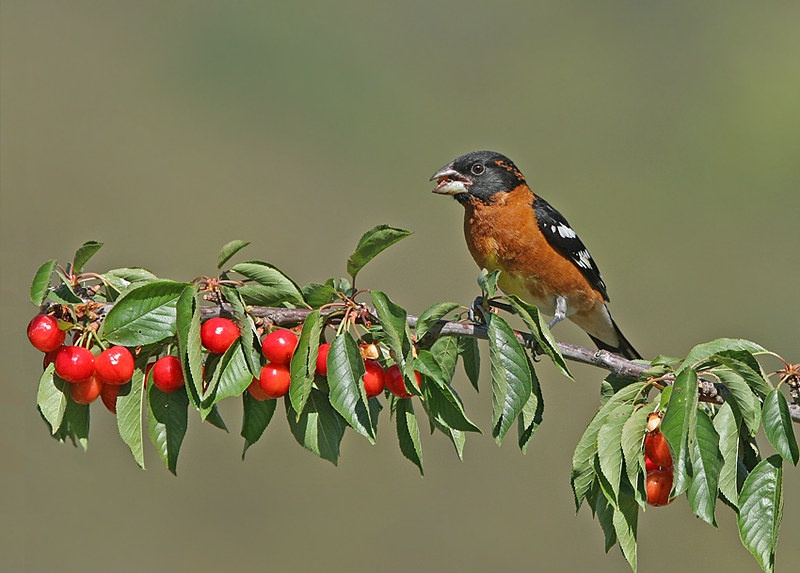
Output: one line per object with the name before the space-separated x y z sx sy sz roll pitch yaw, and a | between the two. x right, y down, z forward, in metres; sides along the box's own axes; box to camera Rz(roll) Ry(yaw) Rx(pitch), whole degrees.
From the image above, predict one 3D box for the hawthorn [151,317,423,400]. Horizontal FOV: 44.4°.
hawthorn | -0.372 0.280 3.273 0.888 0.270 0.323 4 -47 -6
